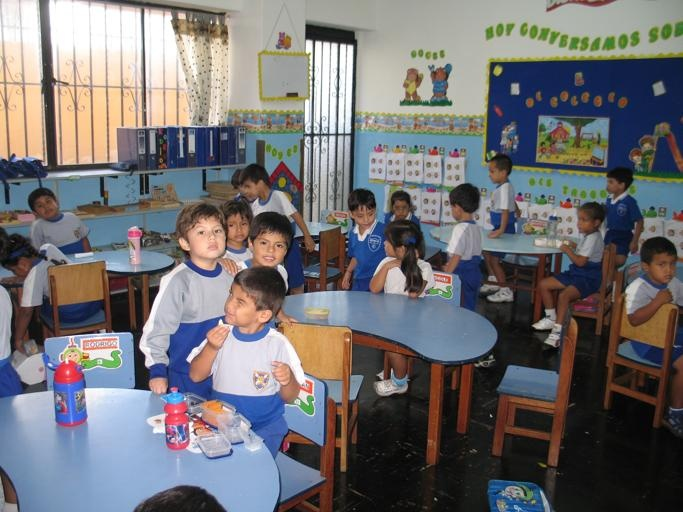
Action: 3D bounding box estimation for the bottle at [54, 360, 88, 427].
[{"bbox_3d":[-1.083,0.522,2.191,0.115,0.234,0.180,-7,15,-30],"label":"bottle"}]

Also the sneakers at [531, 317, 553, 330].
[{"bbox_3d":[1.876,0.628,5.170,0.175,0.082,0.091,-3,26,1],"label":"sneakers"}]

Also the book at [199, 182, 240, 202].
[{"bbox_3d":[-1.393,-0.727,6.308,0.398,0.143,0.381,-5,14,-40],"label":"book"}]

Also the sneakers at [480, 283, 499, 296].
[{"bbox_3d":[1.653,0.348,5.988,0.292,0.140,0.112,0,11,-7],"label":"sneakers"}]

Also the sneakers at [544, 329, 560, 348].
[{"bbox_3d":[1.826,0.717,4.797,0.070,0.093,0.196,10,13,40],"label":"sneakers"}]

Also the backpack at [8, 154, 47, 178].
[{"bbox_3d":[-2.868,-0.814,5.046,0.270,0.116,0.220,8,21,0],"label":"backpack"}]

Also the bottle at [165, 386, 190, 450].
[{"bbox_3d":[-0.630,0.593,2.103,0.093,0.198,0.193,-4,13,-19],"label":"bottle"}]

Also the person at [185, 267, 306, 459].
[{"bbox_3d":[-0.417,0.454,2.378,0.508,0.815,0.316,1,12,0],"label":"person"}]

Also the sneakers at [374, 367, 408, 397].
[{"bbox_3d":[0.356,0.923,4.051,0.269,0.133,0.131,0,39,-8],"label":"sneakers"}]
